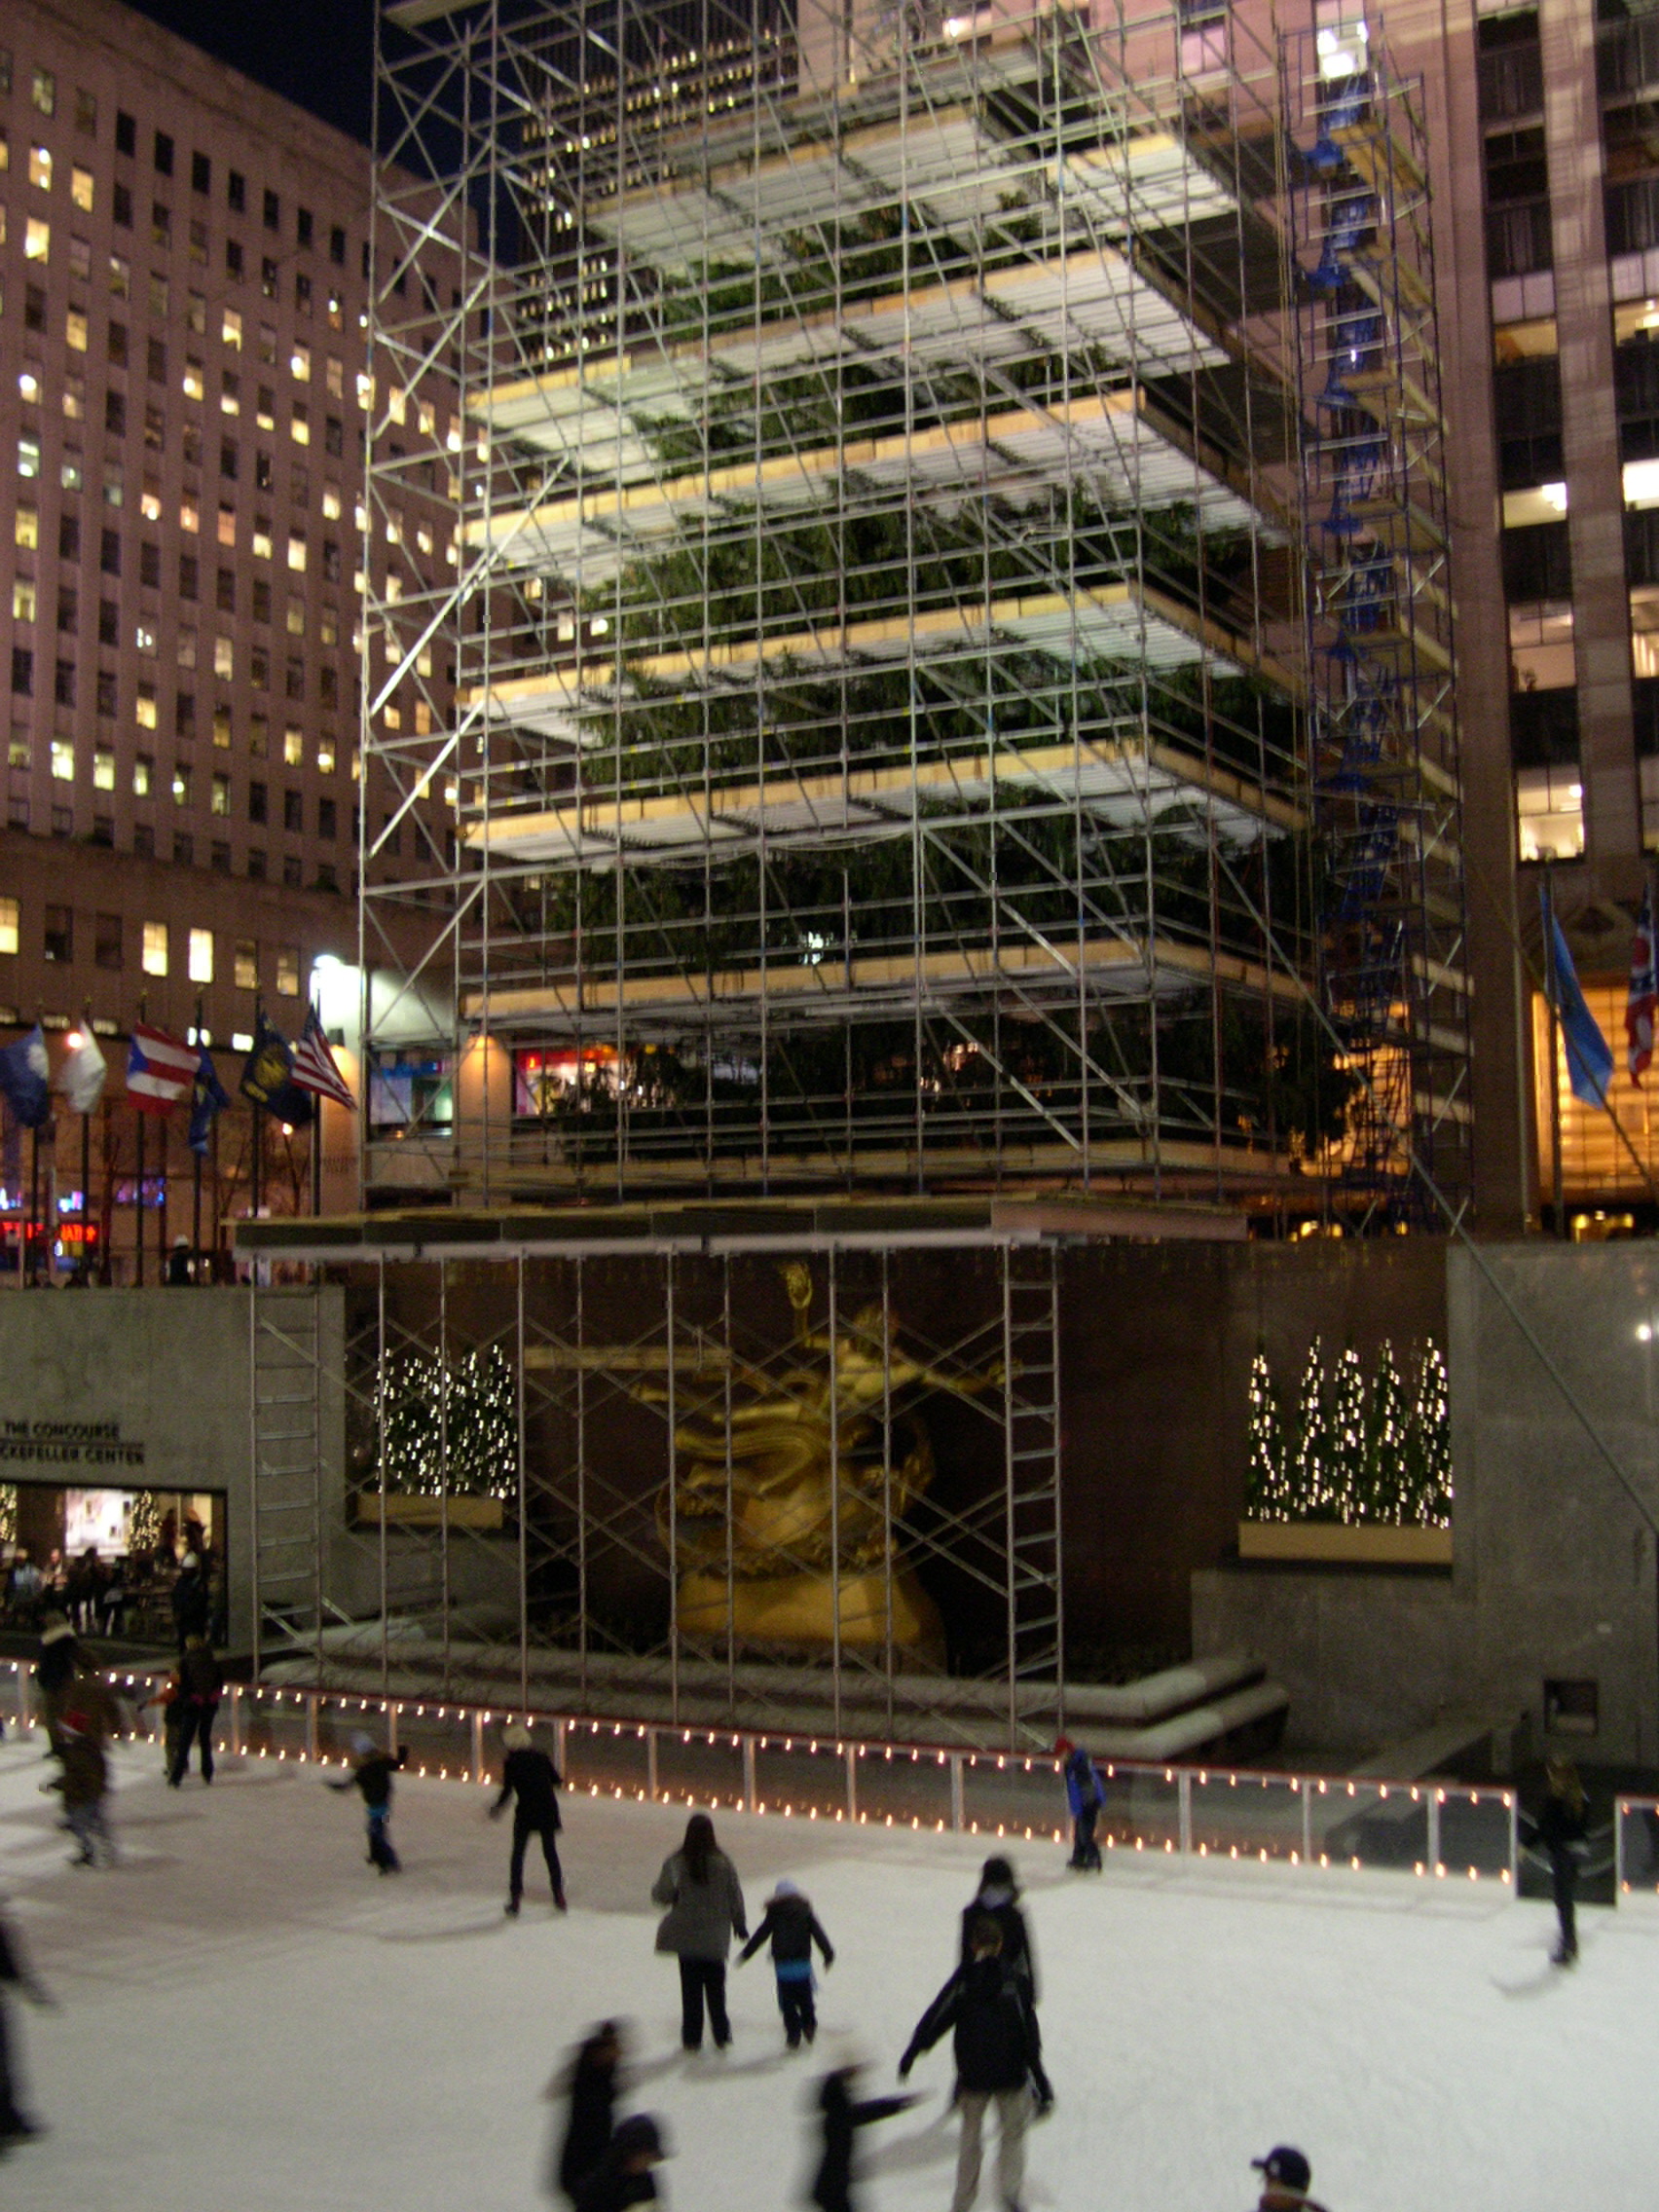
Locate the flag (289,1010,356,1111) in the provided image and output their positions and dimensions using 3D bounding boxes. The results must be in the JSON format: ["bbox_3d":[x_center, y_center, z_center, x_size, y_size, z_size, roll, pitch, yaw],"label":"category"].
[{"bbox_3d":[-9.126,-0.819,43.955,0.251,2.544,1.513,-35,-44,27],"label":"flag"}]

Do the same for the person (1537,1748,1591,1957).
[{"bbox_3d":[4.734,4.834,15.704,0.277,1.227,0.636,-3,-4,22],"label":"person"}]

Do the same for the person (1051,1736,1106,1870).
[{"bbox_3d":[1.952,5.339,18.832,0.332,1.035,0.634,-2,-4,5],"label":"person"}]

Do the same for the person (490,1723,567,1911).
[{"bbox_3d":[-2.203,5.157,17.958,0.501,1.320,2.035,-1,-4,-8],"label":"person"}]
